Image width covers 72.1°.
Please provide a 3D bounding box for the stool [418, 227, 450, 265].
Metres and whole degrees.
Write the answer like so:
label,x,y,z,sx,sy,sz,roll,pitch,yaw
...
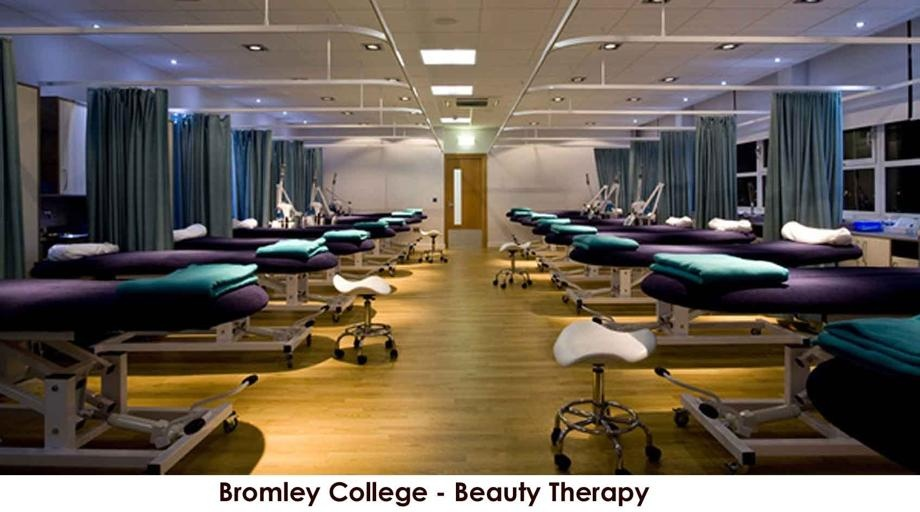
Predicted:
label,x,y,z,sx,sy,sz,roll,pitch,yaw
stool,-0.622,-0.265,14.215,0.827,0.681,0.696,0,3,18
